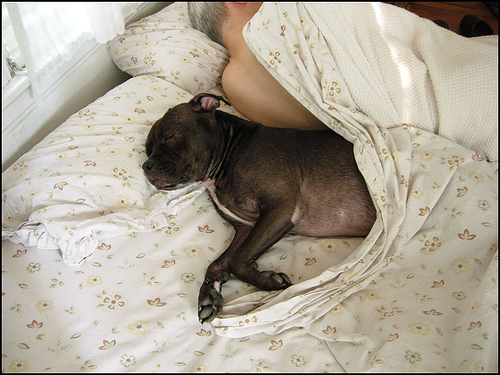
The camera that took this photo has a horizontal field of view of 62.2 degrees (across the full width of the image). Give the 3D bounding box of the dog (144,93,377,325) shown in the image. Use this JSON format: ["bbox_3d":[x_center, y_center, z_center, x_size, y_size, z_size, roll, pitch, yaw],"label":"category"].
[{"bbox_3d":[-0.047,0.115,2.484,1.917,0.557,1.191,10,70,10],"label":"dog"}]

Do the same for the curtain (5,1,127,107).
[{"bbox_3d":[-0.993,-0.703,2.189,0.110,0.646,0.493,22,58,10],"label":"curtain"}]
